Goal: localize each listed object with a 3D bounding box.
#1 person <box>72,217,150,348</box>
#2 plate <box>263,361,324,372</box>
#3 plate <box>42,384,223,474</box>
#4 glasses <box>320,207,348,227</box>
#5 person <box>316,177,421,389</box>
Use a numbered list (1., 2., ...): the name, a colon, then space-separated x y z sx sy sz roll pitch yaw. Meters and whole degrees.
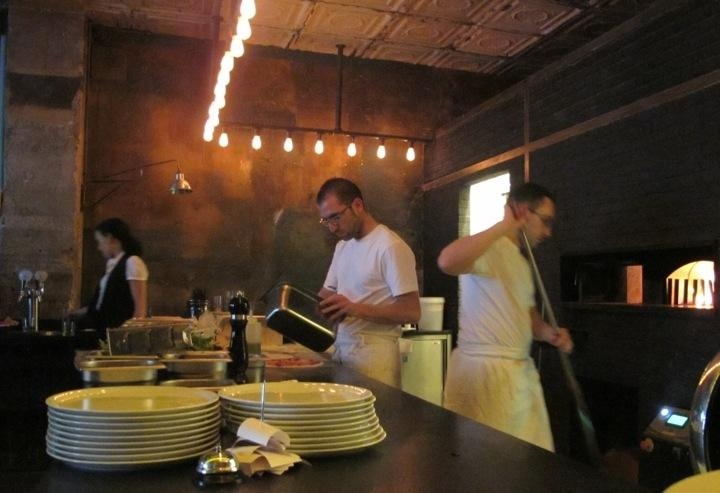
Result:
1. person: -2.190 0.307 5.692 0.557 1.441 0.549 10 -26 -33
2. plate: -0.356 0.662 3.661 0.321 0.026 0.332 3 -3 -10
3. plate: -0.809 0.642 2.348 0.585 0.257 0.335 4 -3 -17
4. glasses: -0.154 -0.207 4.182 0.121 0.036 0.124 -20 16 45
5. person: 0.051 0.209 4.049 0.674 1.285 1.122 3 -3 -3
